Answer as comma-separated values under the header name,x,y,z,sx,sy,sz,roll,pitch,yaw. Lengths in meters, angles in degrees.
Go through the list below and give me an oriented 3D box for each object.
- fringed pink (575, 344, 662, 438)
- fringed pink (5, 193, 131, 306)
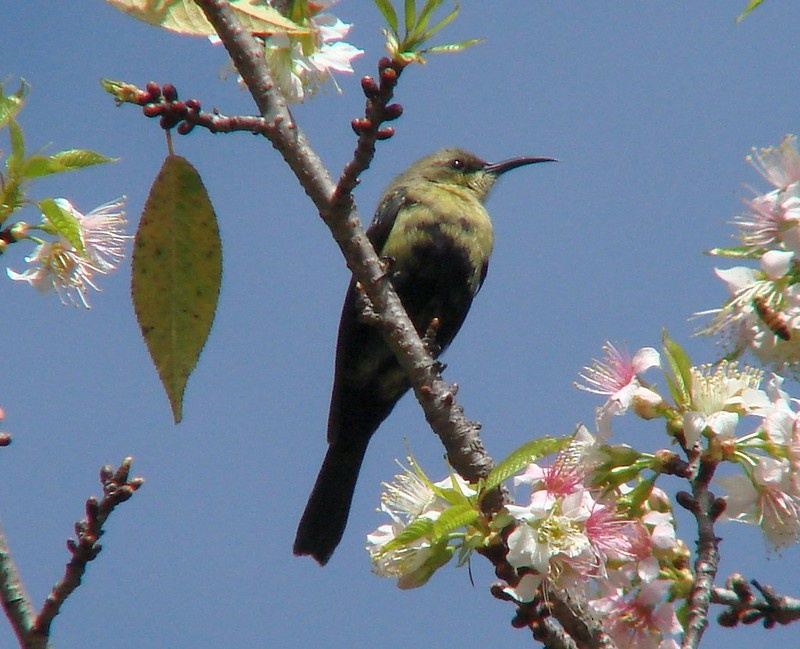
name,x,y,z,sx,sy,sz,roll,pitch,yaw
fringed pink,0.698,0.174,4.560,0.246,0.296,0.115,-20,-56,8
fringed pink,-0.961,-0.219,4.178,0.306,0.291,0.224,-55,-39,-4
